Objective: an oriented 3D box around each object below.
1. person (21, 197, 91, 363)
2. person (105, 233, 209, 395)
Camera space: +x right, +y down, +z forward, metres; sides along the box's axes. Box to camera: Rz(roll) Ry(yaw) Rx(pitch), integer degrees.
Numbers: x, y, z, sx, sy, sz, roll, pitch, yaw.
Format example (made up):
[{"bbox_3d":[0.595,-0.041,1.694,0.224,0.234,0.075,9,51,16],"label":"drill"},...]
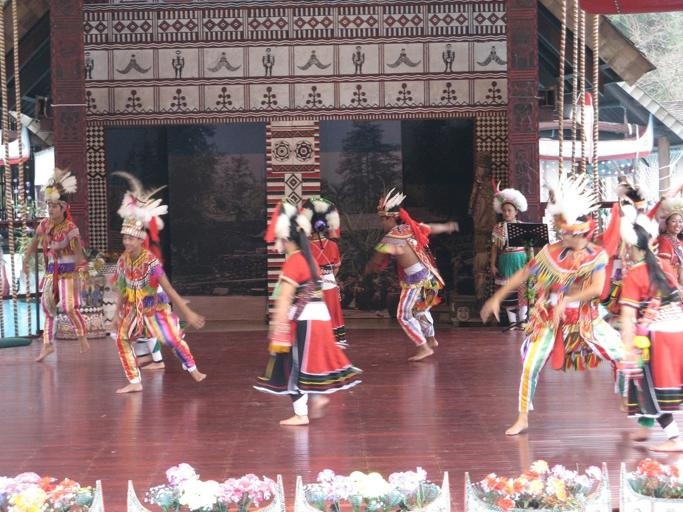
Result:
[{"bbox_3d":[-2.883,0.192,11.046,0.561,1.602,0.515,-8,11,-34],"label":"person"},{"bbox_3d":[-1.654,0.489,9.784,0.758,1.411,0.758,-3,9,-11],"label":"person"}]
